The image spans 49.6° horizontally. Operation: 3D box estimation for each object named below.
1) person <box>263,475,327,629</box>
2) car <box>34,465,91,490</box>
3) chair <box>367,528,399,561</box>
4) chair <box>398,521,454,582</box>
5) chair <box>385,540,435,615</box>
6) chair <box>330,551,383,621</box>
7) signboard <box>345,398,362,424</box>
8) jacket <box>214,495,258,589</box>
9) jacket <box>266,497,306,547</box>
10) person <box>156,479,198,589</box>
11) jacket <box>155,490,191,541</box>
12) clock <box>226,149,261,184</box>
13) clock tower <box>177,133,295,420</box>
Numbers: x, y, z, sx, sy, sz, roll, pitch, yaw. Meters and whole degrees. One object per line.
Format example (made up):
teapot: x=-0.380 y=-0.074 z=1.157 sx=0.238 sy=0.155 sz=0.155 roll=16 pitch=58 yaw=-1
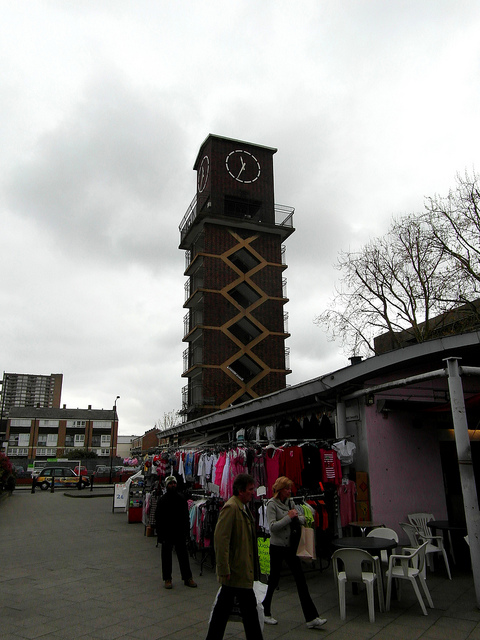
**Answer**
person: x=0.639 y=2.796 z=6.506 sx=0.668 sy=1.621 sz=1.811 roll=-2 pitch=-14 yaw=5
car: x=-12.493 y=11.066 z=36.305 sx=2.749 sy=1.420 sz=3.623 roll=9 pitch=-18 yaw=-37
chair: x=2.079 y=3.189 z=7.456 sx=0.345 sy=0.498 sz=0.371 roll=-10 pitch=-44 yaw=15
chair: x=2.968 y=3.612 z=8.099 sx=0.572 sy=0.811 sz=0.486 roll=-3 pitch=-16 yaw=3
chair: x=2.111 y=3.215 z=6.505 sx=0.555 sy=0.776 sz=0.522 roll=11 pitch=-13 yaw=-41
chair: x=1.393 y=3.165 z=6.309 sx=0.567 sy=0.856 sz=0.523 roll=-8 pitch=-10 yaw=37
signboard: x=2.226 y=1.790 z=10.173 sx=0.049 sy=0.499 sz=0.425 roll=7 pitch=-17 yaw=-15
jacket: x=-0.033 y=1.976 z=4.624 sx=0.278 sy=0.760 sz=0.591 roll=-6 pitch=-14 yaw=19
jacket: x=0.497 y=2.308 z=5.949 sx=0.381 sy=0.545 sz=0.328 roll=8 pitch=-14 yaw=-31
person: x=-1.029 y=3.399 z=8.473 sx=0.594 sy=1.540 sz=1.581 roll=0 pitch=-14 yaw=-7
jacket: x=-1.048 y=3.014 z=8.014 sx=0.538 sy=0.796 sz=0.296 roll=0 pitch=18 yaw=-2
clock: x=0.092 y=-9.348 z=31.892 sx=2.164 sy=2.378 sz=0.238 roll=2 pitch=-14 yaw=-37
clock tower: x=-0.342 y=-3.001 z=30.846 sx=5.560 sy=17.231 sz=3.095 roll=1 pitch=-13 yaw=-11
